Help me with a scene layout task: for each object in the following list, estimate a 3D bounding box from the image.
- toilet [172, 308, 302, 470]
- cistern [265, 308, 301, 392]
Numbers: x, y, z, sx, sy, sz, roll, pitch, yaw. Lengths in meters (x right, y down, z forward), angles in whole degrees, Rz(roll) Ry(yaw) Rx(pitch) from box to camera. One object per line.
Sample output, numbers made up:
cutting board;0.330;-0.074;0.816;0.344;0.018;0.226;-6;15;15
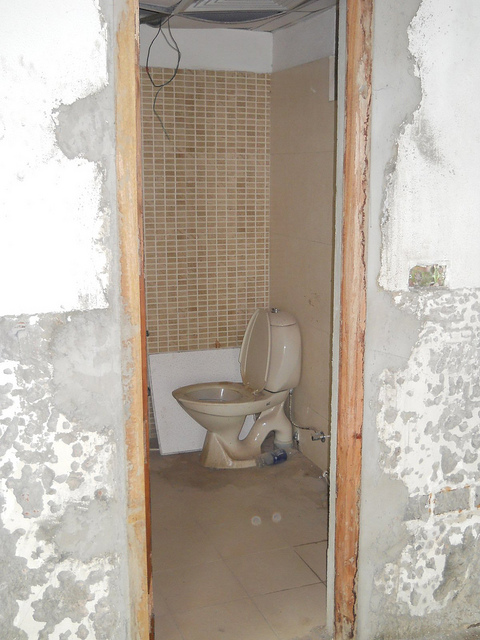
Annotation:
toilet;0.000;0.357;3.292;0.705;0.867;0.431;-2;9;-23
cistern;0.234;0.150;3.356;0.216;0.450;0.300;-6;19;-12
